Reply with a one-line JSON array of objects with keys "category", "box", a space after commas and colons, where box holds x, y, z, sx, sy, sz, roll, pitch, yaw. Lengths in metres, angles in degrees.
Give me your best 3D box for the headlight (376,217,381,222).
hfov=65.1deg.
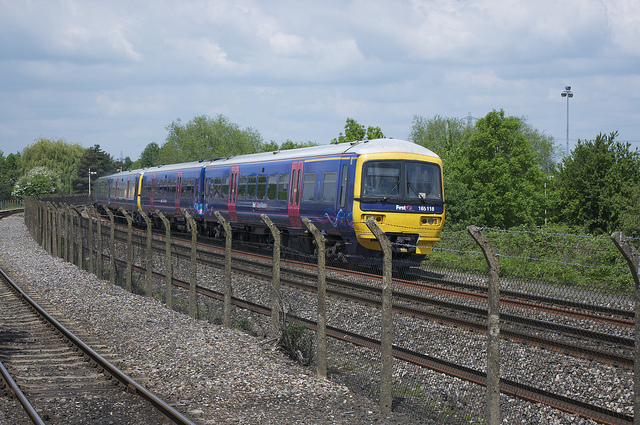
[{"category": "headlight", "box": [2.040, 0.220, 17.446, 0.142, 0.151, 0.034, 9, 0, 8]}]
